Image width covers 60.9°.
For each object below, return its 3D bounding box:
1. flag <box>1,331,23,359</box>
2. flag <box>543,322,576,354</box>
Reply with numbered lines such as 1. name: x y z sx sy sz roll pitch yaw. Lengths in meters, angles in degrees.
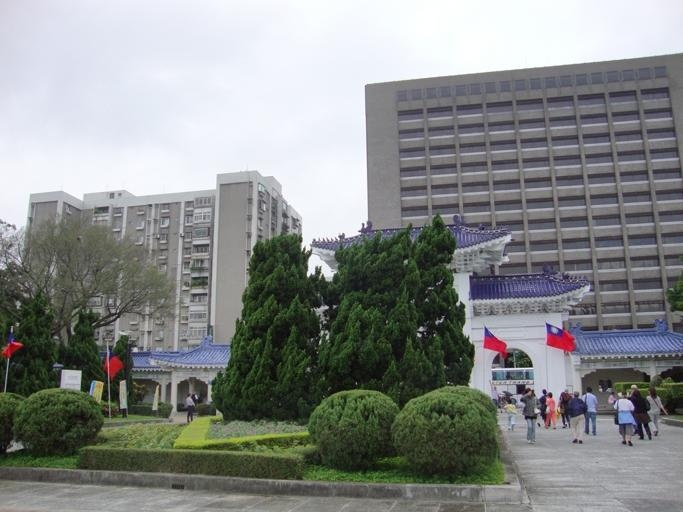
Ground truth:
1. flag: -14.513 3.924 25.469 0.718 1.278 0.453 -28 -48 -5
2. flag: 9.760 3.701 26.159 1.526 1.412 0.334 14 -27 -9
